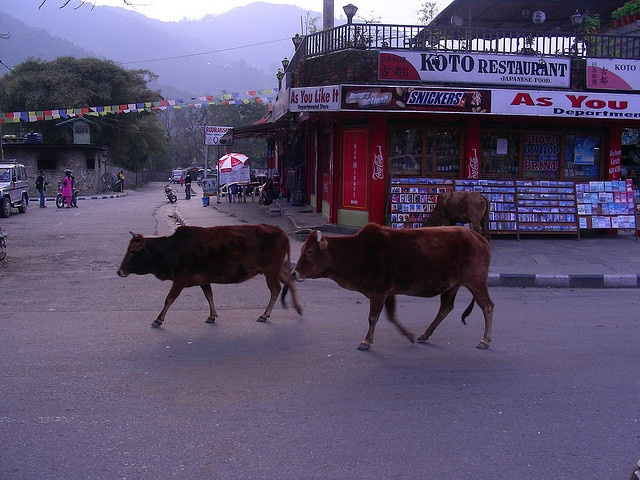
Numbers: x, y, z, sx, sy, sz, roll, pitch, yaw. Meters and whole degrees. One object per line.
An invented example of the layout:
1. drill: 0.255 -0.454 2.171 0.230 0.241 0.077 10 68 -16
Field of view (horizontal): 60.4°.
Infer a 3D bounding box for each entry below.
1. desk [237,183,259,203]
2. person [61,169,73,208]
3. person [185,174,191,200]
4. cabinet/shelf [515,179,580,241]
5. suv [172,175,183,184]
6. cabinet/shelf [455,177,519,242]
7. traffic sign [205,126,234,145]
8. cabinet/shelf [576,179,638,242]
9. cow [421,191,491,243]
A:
1. desk: -4.269 -2.939 32.528 1.134 1.093 1.653 1 4 4
2. person: -12.852 -2.597 28.081 0.475 1.822 1.199 -3 7 -23
3. person: -8.148 -3.349 33.977 0.315 1.584 2.166 -2 7 -14
4. cabinet/shelf: 6.184 -0.858 15.301 1.554 1.662 0.523 1 -10 15
5. suv: -17.924 -7.625 69.485 1.485 1.312 2.337 -2 7 -19
6. cabinet/shelf: 4.538 -0.922 15.355 1.553 1.605 0.588 1 6 7
7. traffic sign: -4.731 -4.901 25.786 1.610 1.324 0.219 -1 -9 -14
8. cabinet/shelf: 7.986 -0.993 15.478 1.789 1.378 0.553 -2 7 -11
9. cow: 3.026 -0.530 12.820 0.597 1.121 1.861 -2 -1 -42
